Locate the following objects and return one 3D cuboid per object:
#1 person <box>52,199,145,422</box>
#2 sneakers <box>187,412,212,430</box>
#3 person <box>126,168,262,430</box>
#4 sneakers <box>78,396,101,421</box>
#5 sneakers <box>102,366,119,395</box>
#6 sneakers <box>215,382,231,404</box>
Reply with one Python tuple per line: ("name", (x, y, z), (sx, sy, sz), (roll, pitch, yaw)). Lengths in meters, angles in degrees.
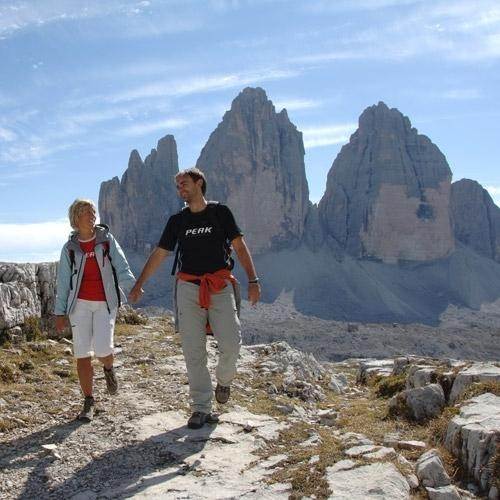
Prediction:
("person", (-1.640, 0.596, 7.497), (0.779, 2.241, 0.526), (1, 3, -15))
("sneakers", (-0.526, 1.726, 7.316), (0.101, 0.144, 0.315), (-3, -20, 18))
("person", (-0.492, 0.454, 7.531), (1.173, 2.634, 0.759), (2, 3, -1))
("sneakers", (-1.675, 1.646, 7.433), (0.098, 0.214, 0.304), (0, -31, -7))
("sneakers", (-1.485, 1.373, 7.599), (0.103, 0.360, 0.132), (-8, -10, -10))
("sneakers", (-0.288, 1.505, 7.566), (0.088, 0.118, 0.287), (0, 38, -9))
